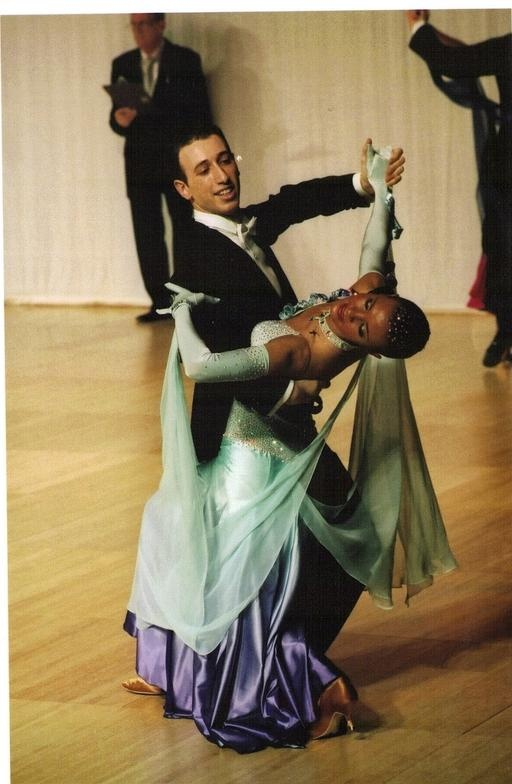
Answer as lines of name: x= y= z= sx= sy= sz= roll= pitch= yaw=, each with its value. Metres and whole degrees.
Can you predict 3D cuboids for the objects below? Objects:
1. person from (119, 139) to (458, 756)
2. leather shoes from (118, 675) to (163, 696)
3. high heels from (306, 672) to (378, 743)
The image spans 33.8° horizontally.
person: x=0.051 y=0.138 z=2.984 sx=1.244 sy=2.097 sz=0.646 roll=-10 pitch=14 yaw=-12
leather shoes: x=-0.411 y=1.050 z=3.075 sx=0.157 sy=0.066 sz=0.058 roll=9 pitch=-1 yaw=6
high heels: x=0.312 y=1.105 z=2.951 sx=0.125 sy=0.176 sz=0.368 roll=-4 pitch=-20 yaw=-19
